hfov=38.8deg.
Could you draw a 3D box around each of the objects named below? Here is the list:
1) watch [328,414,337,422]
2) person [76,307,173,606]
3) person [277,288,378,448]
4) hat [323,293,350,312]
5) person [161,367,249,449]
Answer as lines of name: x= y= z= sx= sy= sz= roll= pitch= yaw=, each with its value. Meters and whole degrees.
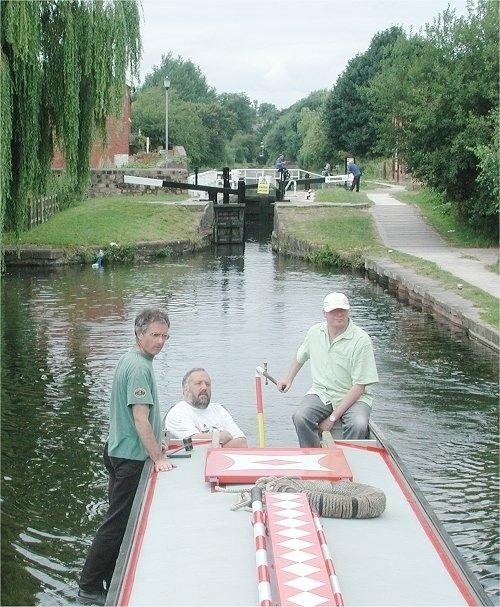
watch: x=0.758 y=1.051 z=6.450 sx=0.038 sy=0.078 sz=0.065 roll=1 pitch=3 yaw=2
person: x=-1.053 y=1.210 z=5.799 sx=0.808 sy=2.972 sz=1.097 roll=-1 pitch=17 yaw=-16
person: x=0.739 y=0.812 z=6.563 sx=0.763 sy=1.897 sz=1.078 roll=5 pitch=-1 yaw=-18
hat: x=0.790 y=-0.004 z=6.526 sx=0.217 sy=0.188 sz=0.280 roll=0 pitch=10 yaw=4
person: x=-0.311 y=0.904 z=5.770 sx=0.579 sy=0.851 sz=0.555 roll=-10 pitch=-12 yaw=6
